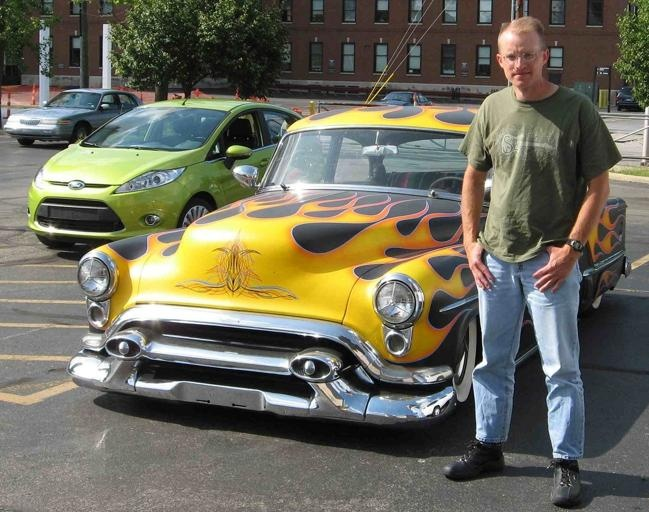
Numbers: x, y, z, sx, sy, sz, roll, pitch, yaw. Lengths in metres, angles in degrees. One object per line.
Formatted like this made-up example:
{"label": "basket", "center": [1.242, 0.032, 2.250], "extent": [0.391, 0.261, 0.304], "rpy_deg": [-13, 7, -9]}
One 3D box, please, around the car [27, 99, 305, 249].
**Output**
{"label": "car", "center": [-2.023, -1.256, 8.691], "extent": [2.152, 1.312, 3.542], "rpy_deg": [10, 15, 39]}

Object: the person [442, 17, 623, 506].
{"label": "person", "center": [0.944, 0.030, 2.841], "extent": [0.716, 2.263, 0.477], "rpy_deg": [6, 13, 22]}

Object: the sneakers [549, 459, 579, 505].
{"label": "sneakers", "center": [1.126, 1.058, 2.847], "extent": [0.096, 0.100, 0.272], "rpy_deg": [-1, 4, 13]}

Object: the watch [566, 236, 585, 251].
{"label": "watch", "center": [1.122, -0.051, 2.720], "extent": [0.076, 0.046, 0.068], "rpy_deg": [28, -12, -19]}

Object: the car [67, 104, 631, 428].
{"label": "car", "center": [0.368, -0.194, 4.568], "extent": [2.112, 1.233, 3.406], "rpy_deg": [2, 4, 32]}
